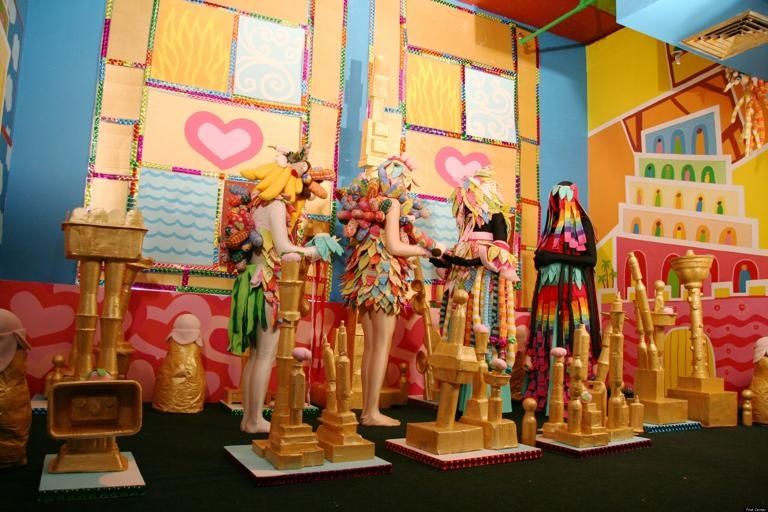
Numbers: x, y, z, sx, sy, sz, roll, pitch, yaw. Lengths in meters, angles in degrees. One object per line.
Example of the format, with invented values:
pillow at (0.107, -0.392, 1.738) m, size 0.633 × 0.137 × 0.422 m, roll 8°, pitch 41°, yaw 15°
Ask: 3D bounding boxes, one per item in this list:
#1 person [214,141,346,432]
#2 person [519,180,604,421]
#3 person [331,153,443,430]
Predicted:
person at (-0.960, 0.225, 5.228) m, size 0.785 × 2.340 × 0.588 m, roll 1°, pitch 3°, yaw -11°
person at (1.739, 0.378, 6.052) m, size 0.638 × 2.215 × 0.566 m, roll 1°, pitch 3°, yaw -6°
person at (0.001, 0.257, 5.584) m, size 0.866 × 2.331 × 0.667 m, roll 2°, pitch 3°, yaw 8°
